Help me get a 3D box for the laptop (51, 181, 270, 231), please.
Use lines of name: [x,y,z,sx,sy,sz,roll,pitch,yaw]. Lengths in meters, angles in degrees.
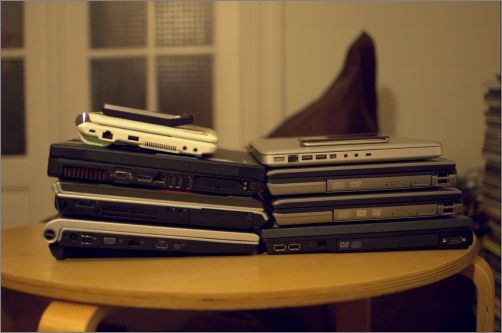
laptop: [-0.239,0.109,1.422,0.394,0.050,0.205,6,0,-9]
